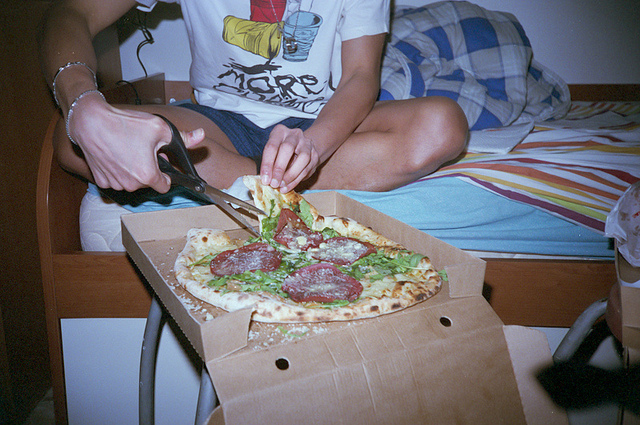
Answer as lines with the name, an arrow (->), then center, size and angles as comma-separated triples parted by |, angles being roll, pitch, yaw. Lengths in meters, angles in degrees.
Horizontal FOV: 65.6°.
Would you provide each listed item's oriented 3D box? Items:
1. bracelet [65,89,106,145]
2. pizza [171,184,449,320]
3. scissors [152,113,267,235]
bracelet -> -0.648, -0.267, 1.379 | 0.110, 0.155, 0.137 | -13, 38, -26
pizza -> -0.031, 0.137, 1.241 | 0.509, 0.088, 0.363 | 17, 39, 19
scissors -> -0.306, -0.097, 1.307 | 0.337, 0.049, 0.176 | 35, 53, -19
